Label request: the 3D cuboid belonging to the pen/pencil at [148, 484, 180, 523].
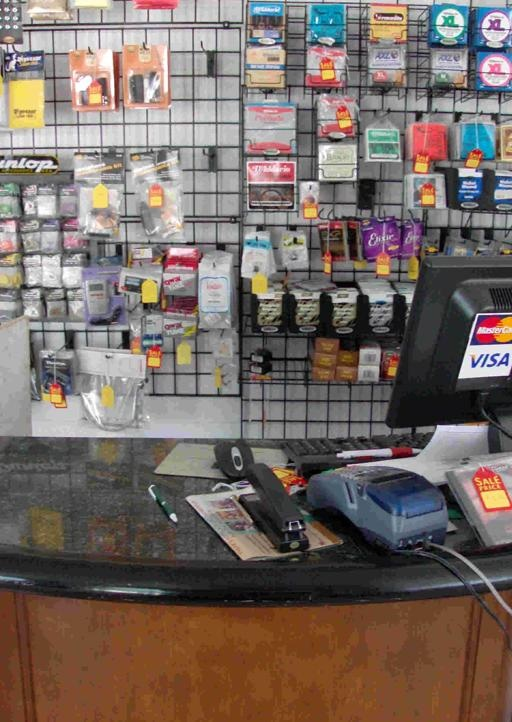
[{"bbox_3d":[-0.188,0.297,1.311,0.027,0.020,0.185,-47,26,-6],"label":"pen/pencil"}]
